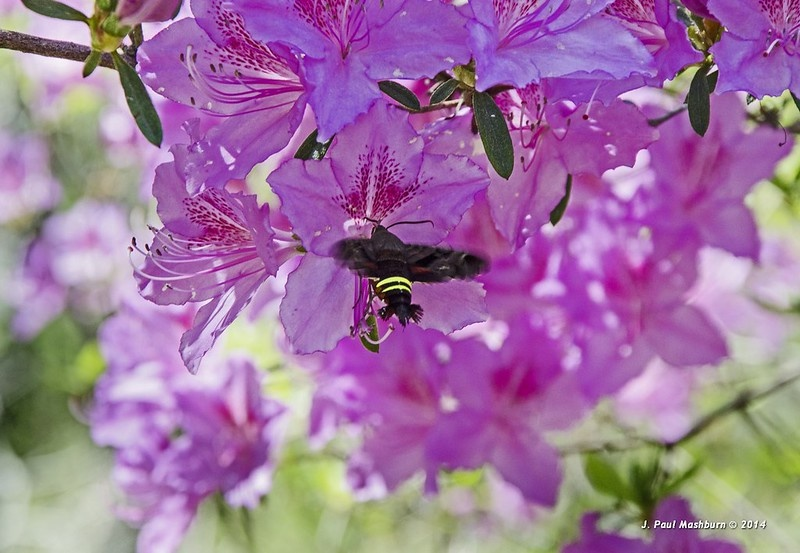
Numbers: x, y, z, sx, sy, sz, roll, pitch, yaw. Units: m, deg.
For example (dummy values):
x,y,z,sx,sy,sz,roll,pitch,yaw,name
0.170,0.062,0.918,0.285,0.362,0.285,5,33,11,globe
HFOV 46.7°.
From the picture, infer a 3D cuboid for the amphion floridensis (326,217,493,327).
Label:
x,y,z,sx,sy,sz,roll,pitch,yaw,name
-0.011,-0.006,1.685,0.309,0.180,0.259,0,13,-19,amphion floridensis
